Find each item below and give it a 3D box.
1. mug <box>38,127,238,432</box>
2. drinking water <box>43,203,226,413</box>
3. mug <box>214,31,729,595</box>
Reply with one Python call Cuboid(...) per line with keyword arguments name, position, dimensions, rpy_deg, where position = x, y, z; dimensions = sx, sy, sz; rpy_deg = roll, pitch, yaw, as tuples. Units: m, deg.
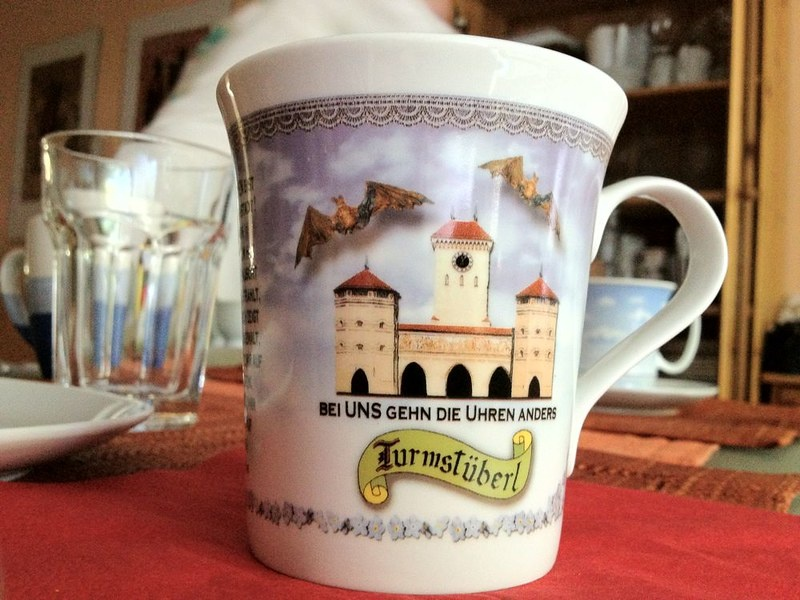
Cuboid(name="mug", position=(-0.243, -0.026, 0.806), dimensions=(0.115, 0.290, 0.188), rpy_deg=(-1, 4, -36))
Cuboid(name="drinking water", position=(-0.261, -0.034, 0.804), dimensions=(0.154, 0.207, 0.162), rpy_deg=(17, 18, 20))
Cuboid(name="mug", position=(0.022, 0.010, 0.496), dimensions=(0.278, 0.281, 0.207), rpy_deg=(1, -1, -16))
